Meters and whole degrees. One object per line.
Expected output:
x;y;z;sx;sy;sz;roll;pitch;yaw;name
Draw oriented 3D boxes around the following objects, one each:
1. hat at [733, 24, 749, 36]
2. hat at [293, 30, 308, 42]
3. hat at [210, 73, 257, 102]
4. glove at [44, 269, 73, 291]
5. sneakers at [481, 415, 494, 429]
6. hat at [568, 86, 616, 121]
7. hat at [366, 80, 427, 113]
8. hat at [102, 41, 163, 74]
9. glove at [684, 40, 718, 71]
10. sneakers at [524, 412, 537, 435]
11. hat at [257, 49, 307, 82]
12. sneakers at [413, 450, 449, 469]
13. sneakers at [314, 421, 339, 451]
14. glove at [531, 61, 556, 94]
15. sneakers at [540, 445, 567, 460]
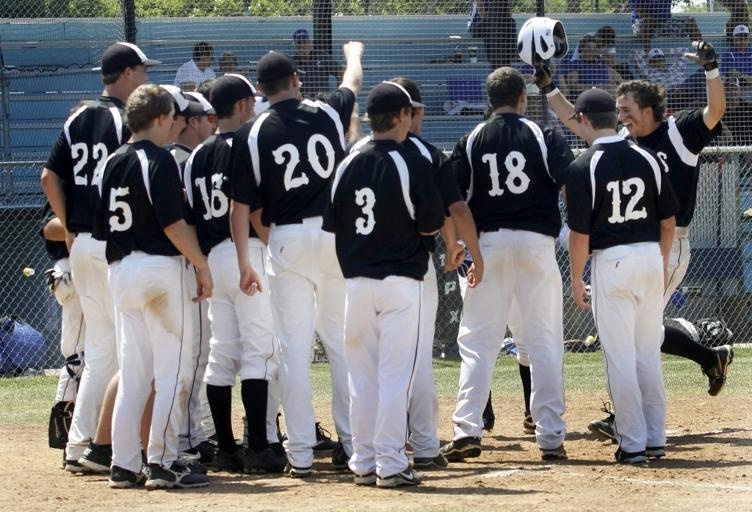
5.410;-3.325;18.290;0.141;0.105;0.197;0;-1;1;hat
-1.038;-3.060;17.268;0.181;0.086;0.259;2;16;2;hat
-1.391;-1.589;11.973;0.422;0.325;0.199;-3;4;-8;hat
-3.118;0.222;12.321;0.202;0.274;0.081;-2;2;23;glove
1.195;1.741;13.047;0.107;0.165;0.413;-2;5;8;sneakers
2.060;-1.470;11.823;0.242;0.191;0.319;-4;11;-19;hat
0.152;-1.418;11.344;0.370;0.218;0.269;-23;23;-25;hat
-2.412;-1.934;12.187;0.631;0.319;0.433;-7;-2;-21;hat
3.197;-1.913;12.128;0.169;0.353;0.273;-11;22;-42;glove
1.593;1.733;12.880;0.088;0.214;0.321;-3;4;-5;sneakers
-0.933;-1.779;11.739;0.376;0.299;0.197;-3;4;-7;hat
0.527;1.924;11.748;0.348;0.174;0.128;0;-1;-28;sneakers
-0.512;1.807;12.585;0.226;0.288;0.480;-3;4;-3;sneakers
1.804;-1.900;13.208;0.205;0.348;0.428;-2;4;7;glove
1.725;1.879;11.903;0.265;0.143;0.147;-3;4;-5;sneakers
